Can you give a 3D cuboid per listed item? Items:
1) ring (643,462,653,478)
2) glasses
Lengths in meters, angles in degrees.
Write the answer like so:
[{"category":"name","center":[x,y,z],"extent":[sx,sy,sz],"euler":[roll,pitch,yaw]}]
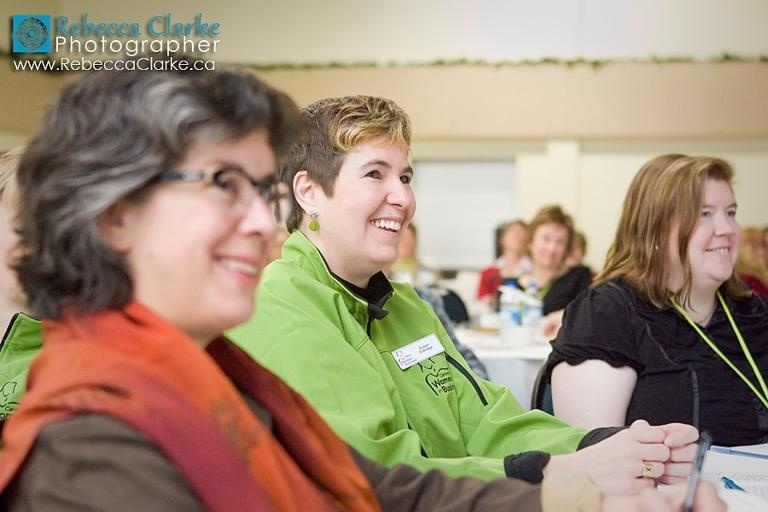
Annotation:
[{"category":"ring","center":[0.572,0.459,1.605],"extent":[0.031,0.029,0.010],"euler":[5,-7,-14]},{"category":"glasses","center":[-0.280,-0.111,1.294],"extent":[0.131,0.041,0.127],"euler":[-2,-14,18]}]
